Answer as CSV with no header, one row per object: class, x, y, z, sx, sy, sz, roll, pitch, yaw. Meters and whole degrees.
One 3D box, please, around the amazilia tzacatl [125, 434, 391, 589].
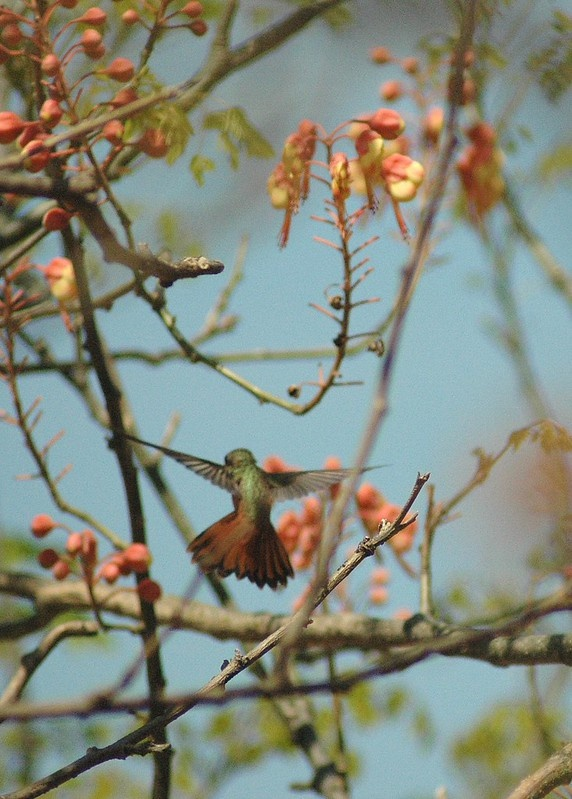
amazilia tzacatl,-0.035,0.138,1.783,0.301,0.167,0.136,5,-79,-28
